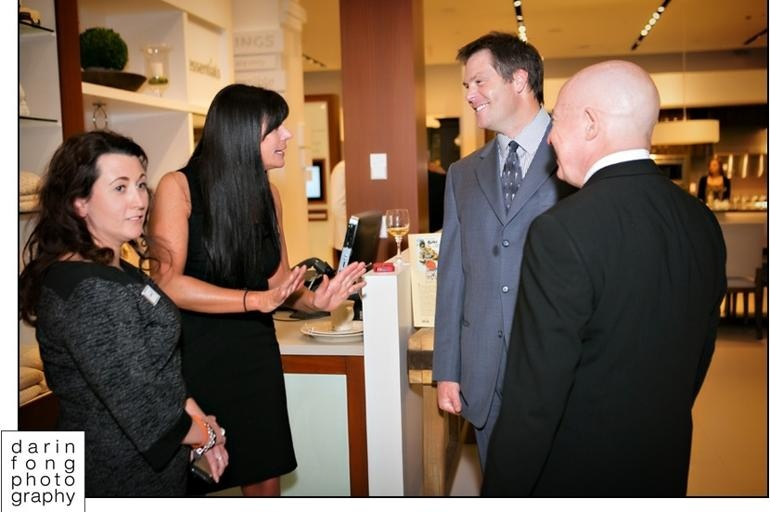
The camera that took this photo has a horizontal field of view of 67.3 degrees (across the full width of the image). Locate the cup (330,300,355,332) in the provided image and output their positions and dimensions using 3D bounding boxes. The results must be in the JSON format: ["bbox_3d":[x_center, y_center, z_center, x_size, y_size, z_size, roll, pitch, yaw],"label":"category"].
[{"bbox_3d":[-0.194,0.309,2.914,0.108,0.154,0.162,1,-2,-35],"label":"cup"}]

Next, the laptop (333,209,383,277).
[{"bbox_3d":[-0.154,-0.092,3.394,0.066,0.363,0.630,12,13,13],"label":"laptop"}]

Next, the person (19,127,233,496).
[{"bbox_3d":[-0.856,0.193,1.908,0.665,1.217,0.295,1,4,-15],"label":"person"}]

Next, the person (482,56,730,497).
[{"bbox_3d":[0.667,0.086,1.739,0.627,1.343,0.304,4,4,22],"label":"person"}]

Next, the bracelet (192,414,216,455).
[{"bbox_3d":[-0.623,0.613,1.995,0.043,0.118,0.090,3,-28,-25],"label":"bracelet"}]
